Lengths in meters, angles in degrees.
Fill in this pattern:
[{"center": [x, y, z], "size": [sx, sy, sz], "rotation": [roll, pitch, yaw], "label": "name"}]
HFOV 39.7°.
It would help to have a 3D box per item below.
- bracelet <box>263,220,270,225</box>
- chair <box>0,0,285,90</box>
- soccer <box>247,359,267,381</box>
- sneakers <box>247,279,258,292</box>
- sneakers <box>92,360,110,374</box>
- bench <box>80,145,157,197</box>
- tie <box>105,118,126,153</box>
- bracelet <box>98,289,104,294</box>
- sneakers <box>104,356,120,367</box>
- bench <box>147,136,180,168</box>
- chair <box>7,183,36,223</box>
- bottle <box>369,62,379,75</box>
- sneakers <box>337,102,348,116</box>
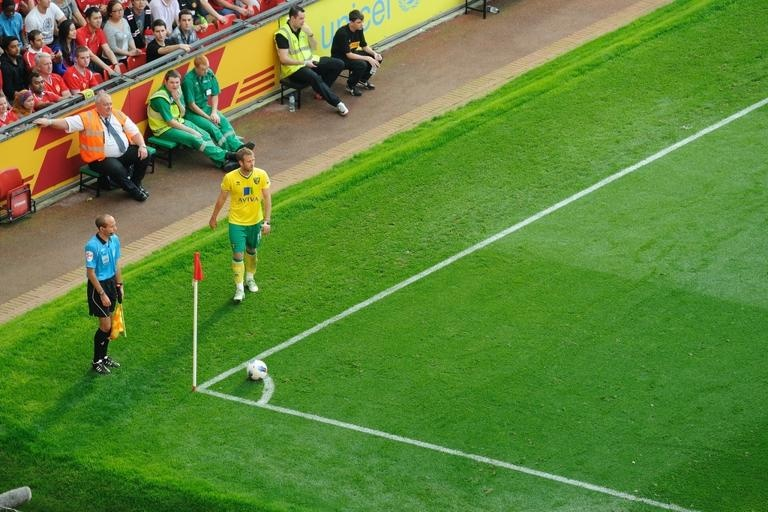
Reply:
[{"center": [-2.011, -0.583, 17.957], "size": [0.075, 0.019, 0.066], "rotation": [0, 62, 8], "label": "bracelet"}, {"center": [-3.915, -4.425, 22.241], "size": [4.378, 0.258, 0.458], "rotation": [-30, 23, -31], "label": "chair"}, {"center": [-2.019, 1.810, 16.713], "size": [0.278, 0.268, 0.338], "rotation": [4, -1, 1], "label": "soccer"}, {"center": [-2.305, 0.522, 18.411], "size": [0.144, 0.265, 0.113], "rotation": [-30, -10, -4], "label": "sneakers"}, {"center": [-4.549, 1.790, 16.949], "size": [0.158, 0.300, 0.125], "rotation": [-44, -7, -20], "label": "sneakers"}, {"center": [-5.286, -1.675, 20.909], "size": [1.539, 0.851, 0.937], "rotation": [-24, 20, -15], "label": "bench"}, {"center": [-5.190, -2.345, 20.377], "size": [0.203, 0.711, 0.062], "rotation": [-24, 20, -9], "label": "tie"}, {"center": [-4.395, 0.539, 16.406], "size": [0.078, 0.072, 0.019], "rotation": [6, 3, -6], "label": "bracelet"}, {"center": [-4.364, 1.698, 17.088], "size": [0.325, 0.106, 0.134], "rotation": [10, 2, -17], "label": "sneakers"}, {"center": [-4.534, -2.149, 21.549], "size": [0.454, 0.408, 0.424], "rotation": [29, 35, 8], "label": "bench"}, {"center": [-6.898, -1.014, 19.998], "size": [0.446, 0.547, 0.574], "rotation": [17, 29, 30], "label": "chair"}, {"center": [-0.259, -4.229, 23.623], "size": [0.152, 0.148, 0.246], "rotation": [-59, -1, -35], "label": "bottle"}, {"center": [-0.923, -3.211, 22.987], "size": [0.166, 0.147, 0.330], "rotation": [-47, 43, 8], "label": "sneakers"}]
